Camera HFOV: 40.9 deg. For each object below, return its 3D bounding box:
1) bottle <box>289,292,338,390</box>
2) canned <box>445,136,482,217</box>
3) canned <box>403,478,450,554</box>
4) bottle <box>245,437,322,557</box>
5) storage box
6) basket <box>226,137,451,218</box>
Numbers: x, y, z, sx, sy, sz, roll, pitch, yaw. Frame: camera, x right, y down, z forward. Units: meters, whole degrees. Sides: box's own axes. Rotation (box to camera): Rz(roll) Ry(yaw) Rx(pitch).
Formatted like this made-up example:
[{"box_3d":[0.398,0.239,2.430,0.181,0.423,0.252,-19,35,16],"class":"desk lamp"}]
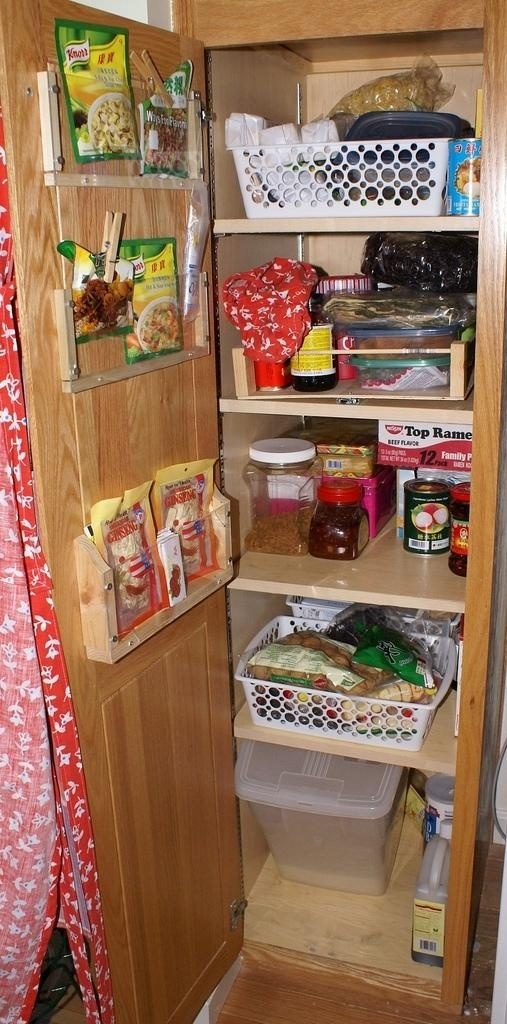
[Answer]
[{"box_3d":[0.105,-0.306,1.171,0.061,0.169,0.082,4,20,9],"class":"bottle"},{"box_3d":[0.282,-0.454,0.918,0.038,0.118,0.033,1,15,8],"class":"canned"},{"box_3d":[0.321,0.012,1.258,0.074,0.148,0.084,-2,21,1],"class":"canned"},{"box_3d":[0.056,-0.027,1.300,0.107,0.263,0.113,0,21,0],"class":"bottle"},{"box_3d":[0.148,0.676,1.486,0.360,0.355,0.395,4,17,9],"class":"storage box"},{"box_3d":[0.128,-0.507,1.061,0.305,0.133,0.231,-1,18,2],"class":"basket"}]
